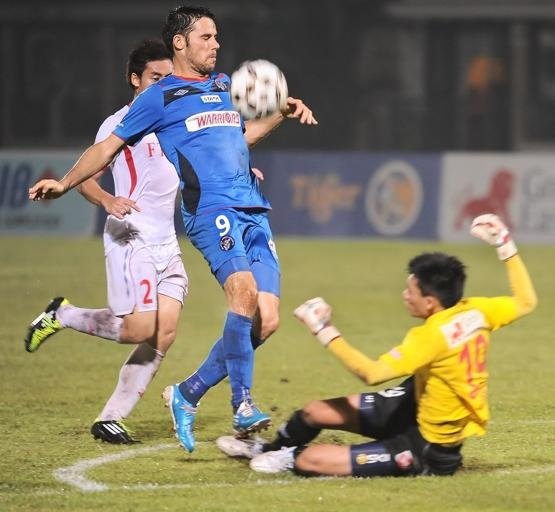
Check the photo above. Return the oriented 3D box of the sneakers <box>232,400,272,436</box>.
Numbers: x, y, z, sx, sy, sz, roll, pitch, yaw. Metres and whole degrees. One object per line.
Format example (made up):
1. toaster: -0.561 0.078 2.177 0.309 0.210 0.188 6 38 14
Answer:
1. sneakers: -0.151 0.922 6.094 0.107 0.153 0.307 -12 -8 -39

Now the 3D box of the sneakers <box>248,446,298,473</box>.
1. sneakers: -0.030 1.146 6.032 0.216 0.079 0.147 -2 -7 4

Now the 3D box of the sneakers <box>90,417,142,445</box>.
1. sneakers: -1.028 1.063 6.655 0.343 0.116 0.166 13 13 22

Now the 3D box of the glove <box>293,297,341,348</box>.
1. glove: 0.225 0.349 5.788 0.179 0.301 0.120 -43 -4 -5

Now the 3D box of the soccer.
1. soccer: -0.119 -1.043 6.964 0.390 0.414 0.358 7 -9 -9

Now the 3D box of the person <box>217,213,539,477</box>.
1. person: 0.538 0.557 5.966 1.868 1.407 0.830 0 4 5

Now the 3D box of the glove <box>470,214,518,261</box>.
1. glove: 1.226 -0.120 6.022 0.290 0.208 0.114 38 12 -7

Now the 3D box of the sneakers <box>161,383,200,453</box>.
1. sneakers: -0.573 0.955 6.386 0.193 0.425 0.161 -23 -8 20
